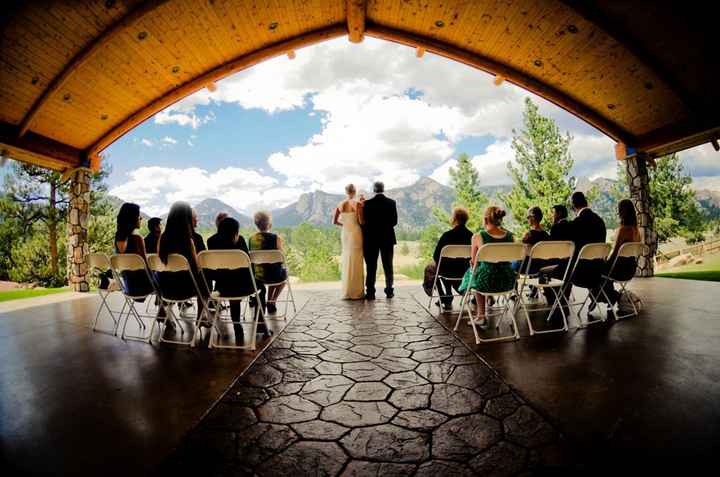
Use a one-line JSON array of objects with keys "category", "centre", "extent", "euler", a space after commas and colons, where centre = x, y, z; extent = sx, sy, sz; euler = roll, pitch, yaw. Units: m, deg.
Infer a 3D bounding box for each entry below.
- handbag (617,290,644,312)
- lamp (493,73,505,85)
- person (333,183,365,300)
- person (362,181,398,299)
[{"category": "handbag", "centre": [4.673, 1.072, 7.122], "extent": [0.296, 0.375, 0.209], "euler": [4, -31, 9]}, {"category": "lamp", "centre": [3.435, -3.911, 10.134], "extent": [0.239, 0.215, 0.487], "euler": [-5, 0, 6]}, {"category": "person", "centre": [-0.213, 0.065, 8.932], "extent": [0.525, 2.467, 0.748], "euler": [-5, 0, -43]}, {"category": "person", "centre": [0.419, 0.016, 8.986], "extent": [0.821, 2.526, 0.803], "euler": [-5, 0, 3]}]
